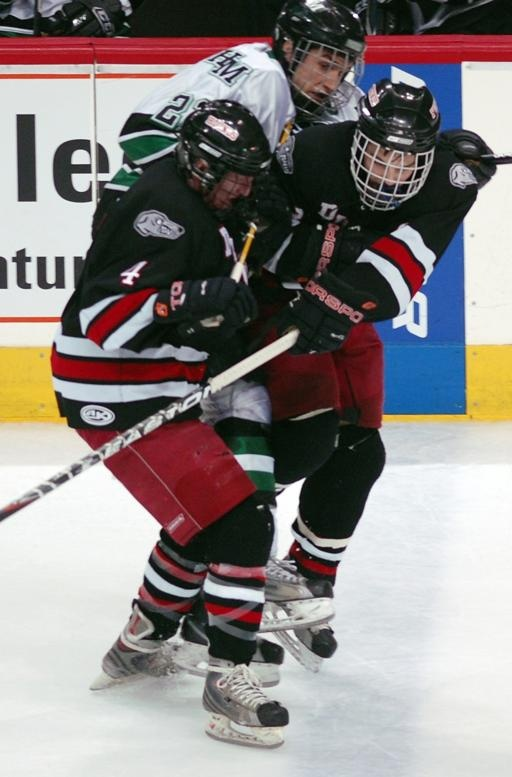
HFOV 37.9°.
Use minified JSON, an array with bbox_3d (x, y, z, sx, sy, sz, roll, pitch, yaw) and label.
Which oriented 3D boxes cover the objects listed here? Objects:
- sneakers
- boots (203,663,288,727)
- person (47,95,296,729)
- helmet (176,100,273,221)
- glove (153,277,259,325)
[{"bbox_3d":[-0.006,0.462,1.493,0.140,0.228,0.408,20,-33,-38],"label":"sneakers"},{"bbox_3d":[-0.027,0.471,1.174,0.062,0.071,0.161,-1,-3,-36],"label":"boots"},{"bbox_3d":[-0.161,0.038,1.270,0.354,1.021,0.377,0,-1,-15],"label":"person"},{"bbox_3d":[-0.054,-0.388,1.219,0.171,0.157,0.139,30,28,6],"label":"helmet"},{"bbox_3d":[-0.081,-0.132,1.124,0.127,0.067,0.046,-3,-14,-7],"label":"glove"}]
